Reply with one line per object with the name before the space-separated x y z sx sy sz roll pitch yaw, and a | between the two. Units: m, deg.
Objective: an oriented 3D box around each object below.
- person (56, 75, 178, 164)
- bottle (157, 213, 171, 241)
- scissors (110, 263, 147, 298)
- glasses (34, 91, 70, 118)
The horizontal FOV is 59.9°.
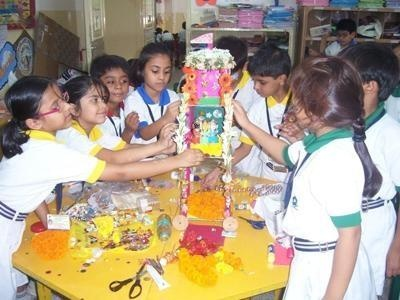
person | -0.632 -0.242 2.641 0.944 0.597 0.570 -2 3 15
bottle | -0.232 0.491 2.218 0.054 0.070 0.142 22 27 -19
scissors | -0.360 0.711 1.873 0.228 0.078 0.169 -6 12 -37
glasses | -0.910 -0.270 2.157 0.162 0.043 0.162 -14 28 8
